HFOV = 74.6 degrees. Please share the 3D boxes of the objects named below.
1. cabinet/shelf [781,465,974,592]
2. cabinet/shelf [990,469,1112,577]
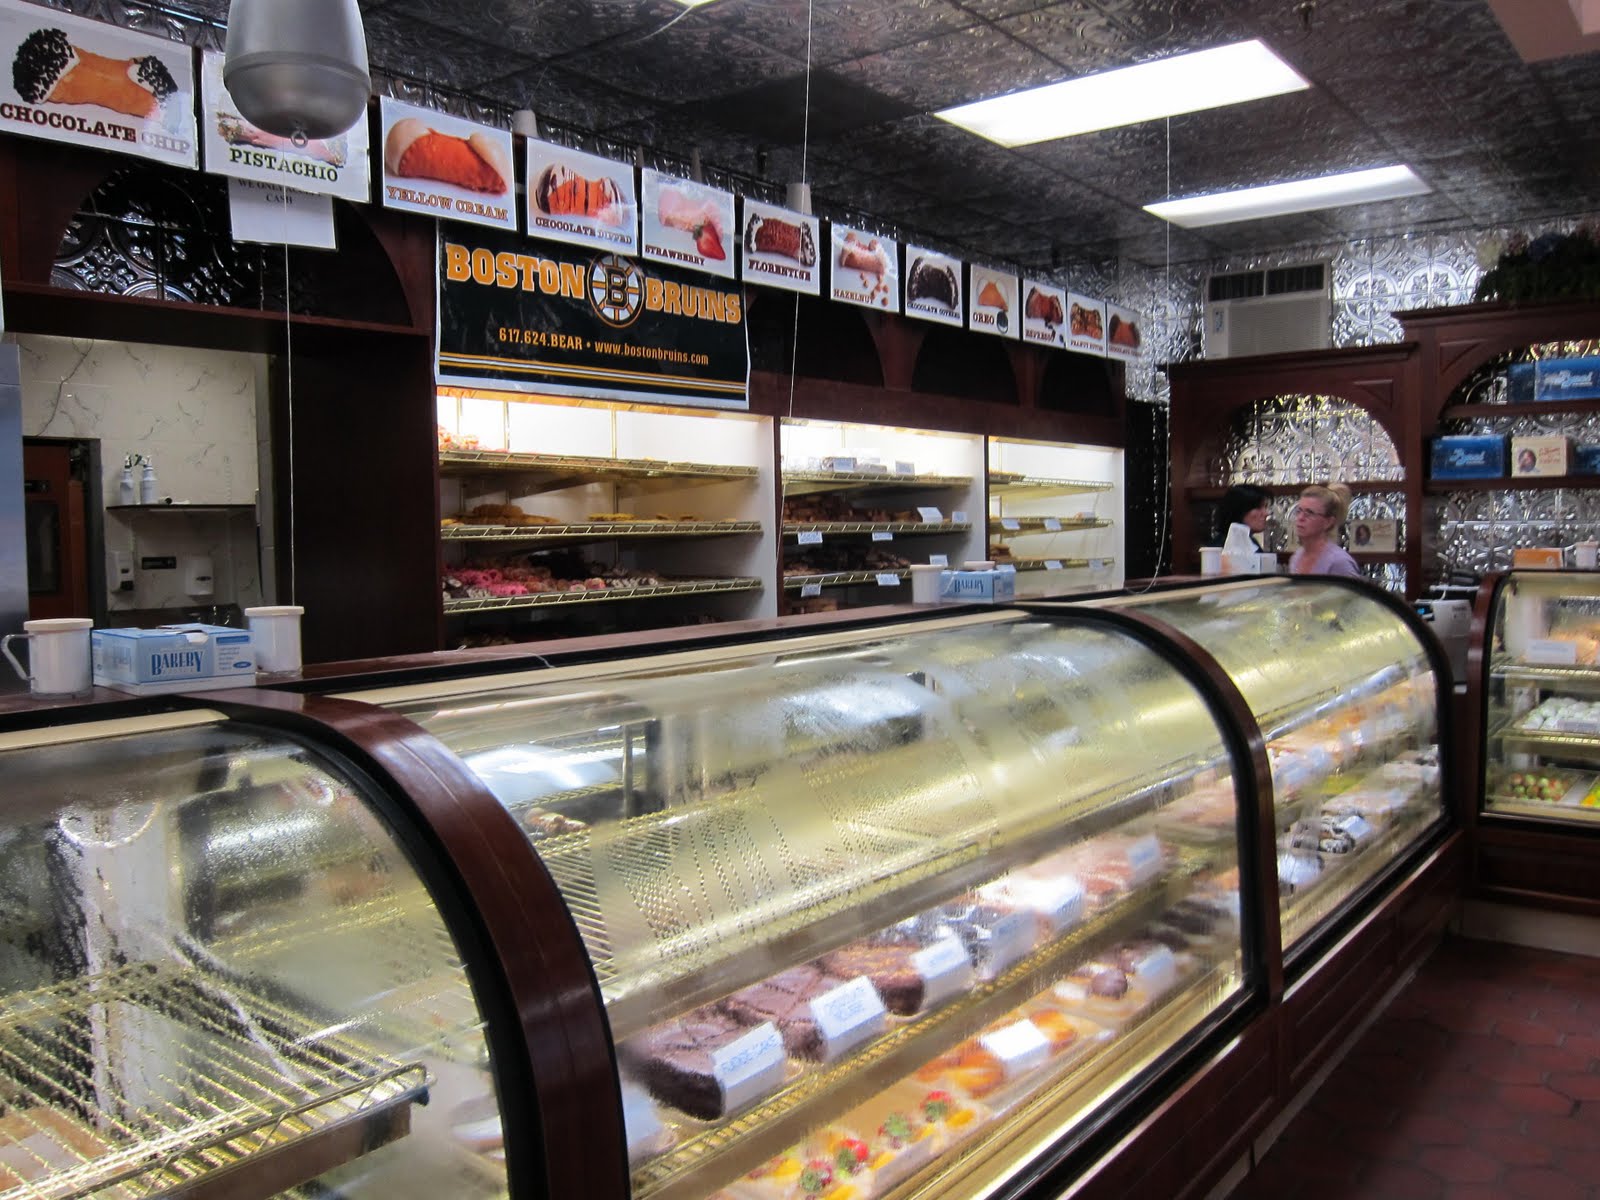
[{"bbox_3d":[0.458,-0.444,6.496,1.426,0.818,0.745,0,-3,-36],"label":"cabinet/shelf"},{"bbox_3d":[1.821,-0.530,7.773,0.617,0.801,1.406,2,7,36],"label":"cabinet/shelf"}]
